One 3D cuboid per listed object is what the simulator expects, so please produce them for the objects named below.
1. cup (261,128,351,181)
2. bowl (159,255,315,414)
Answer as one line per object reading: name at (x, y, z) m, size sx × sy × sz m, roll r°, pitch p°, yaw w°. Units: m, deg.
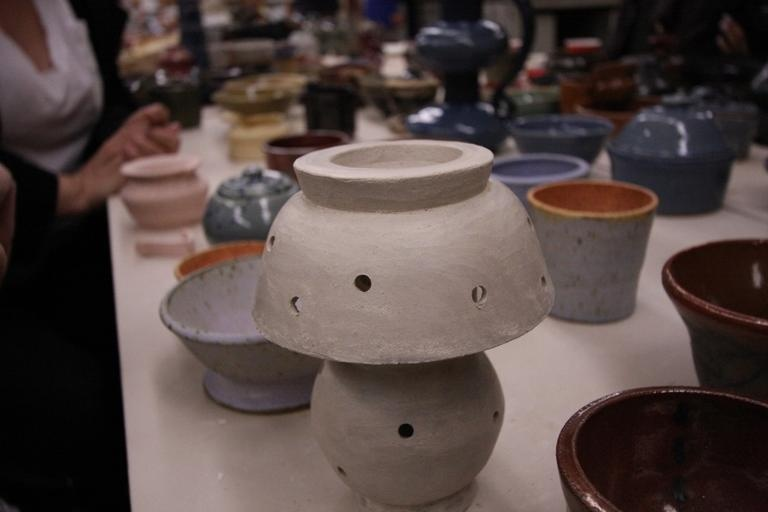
cup at (-0.258, -0.356, 2.215) m, size 0.265 × 0.194 × 0.266 m, roll -1°, pitch 23°, yaw 0°
bowl at (-0.257, 0.155, 1.430) m, size 0.412 × 0.192 × 0.419 m, roll -2°, pitch 22°, yaw 1°
